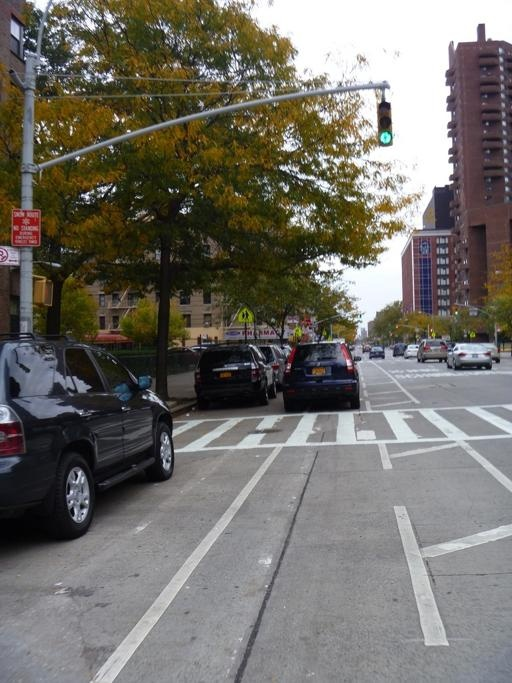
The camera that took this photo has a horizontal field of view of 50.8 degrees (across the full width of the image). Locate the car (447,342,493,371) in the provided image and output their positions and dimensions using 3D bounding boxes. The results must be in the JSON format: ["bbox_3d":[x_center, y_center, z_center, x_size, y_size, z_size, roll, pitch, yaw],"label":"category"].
[{"bbox_3d":[13.915,1.157,35.566,1.196,1.431,3.506,-1,3,12],"label":"car"}]

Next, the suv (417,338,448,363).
[{"bbox_3d":[16.383,0.987,49.954,2.388,2.169,2.859,-1,0,17],"label":"suv"}]

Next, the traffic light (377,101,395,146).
[{"bbox_3d":[2.606,-4.421,10.895,0.338,1.067,0.389,-2,1,-44],"label":"traffic light"}]

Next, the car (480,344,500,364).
[{"bbox_3d":[16.738,0.962,38.607,0.862,1.083,2.542,0,6,13],"label":"car"}]

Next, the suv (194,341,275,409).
[{"bbox_3d":[-0.487,1.110,17.931,1.178,1.530,3.211,-2,1,10],"label":"suv"}]
